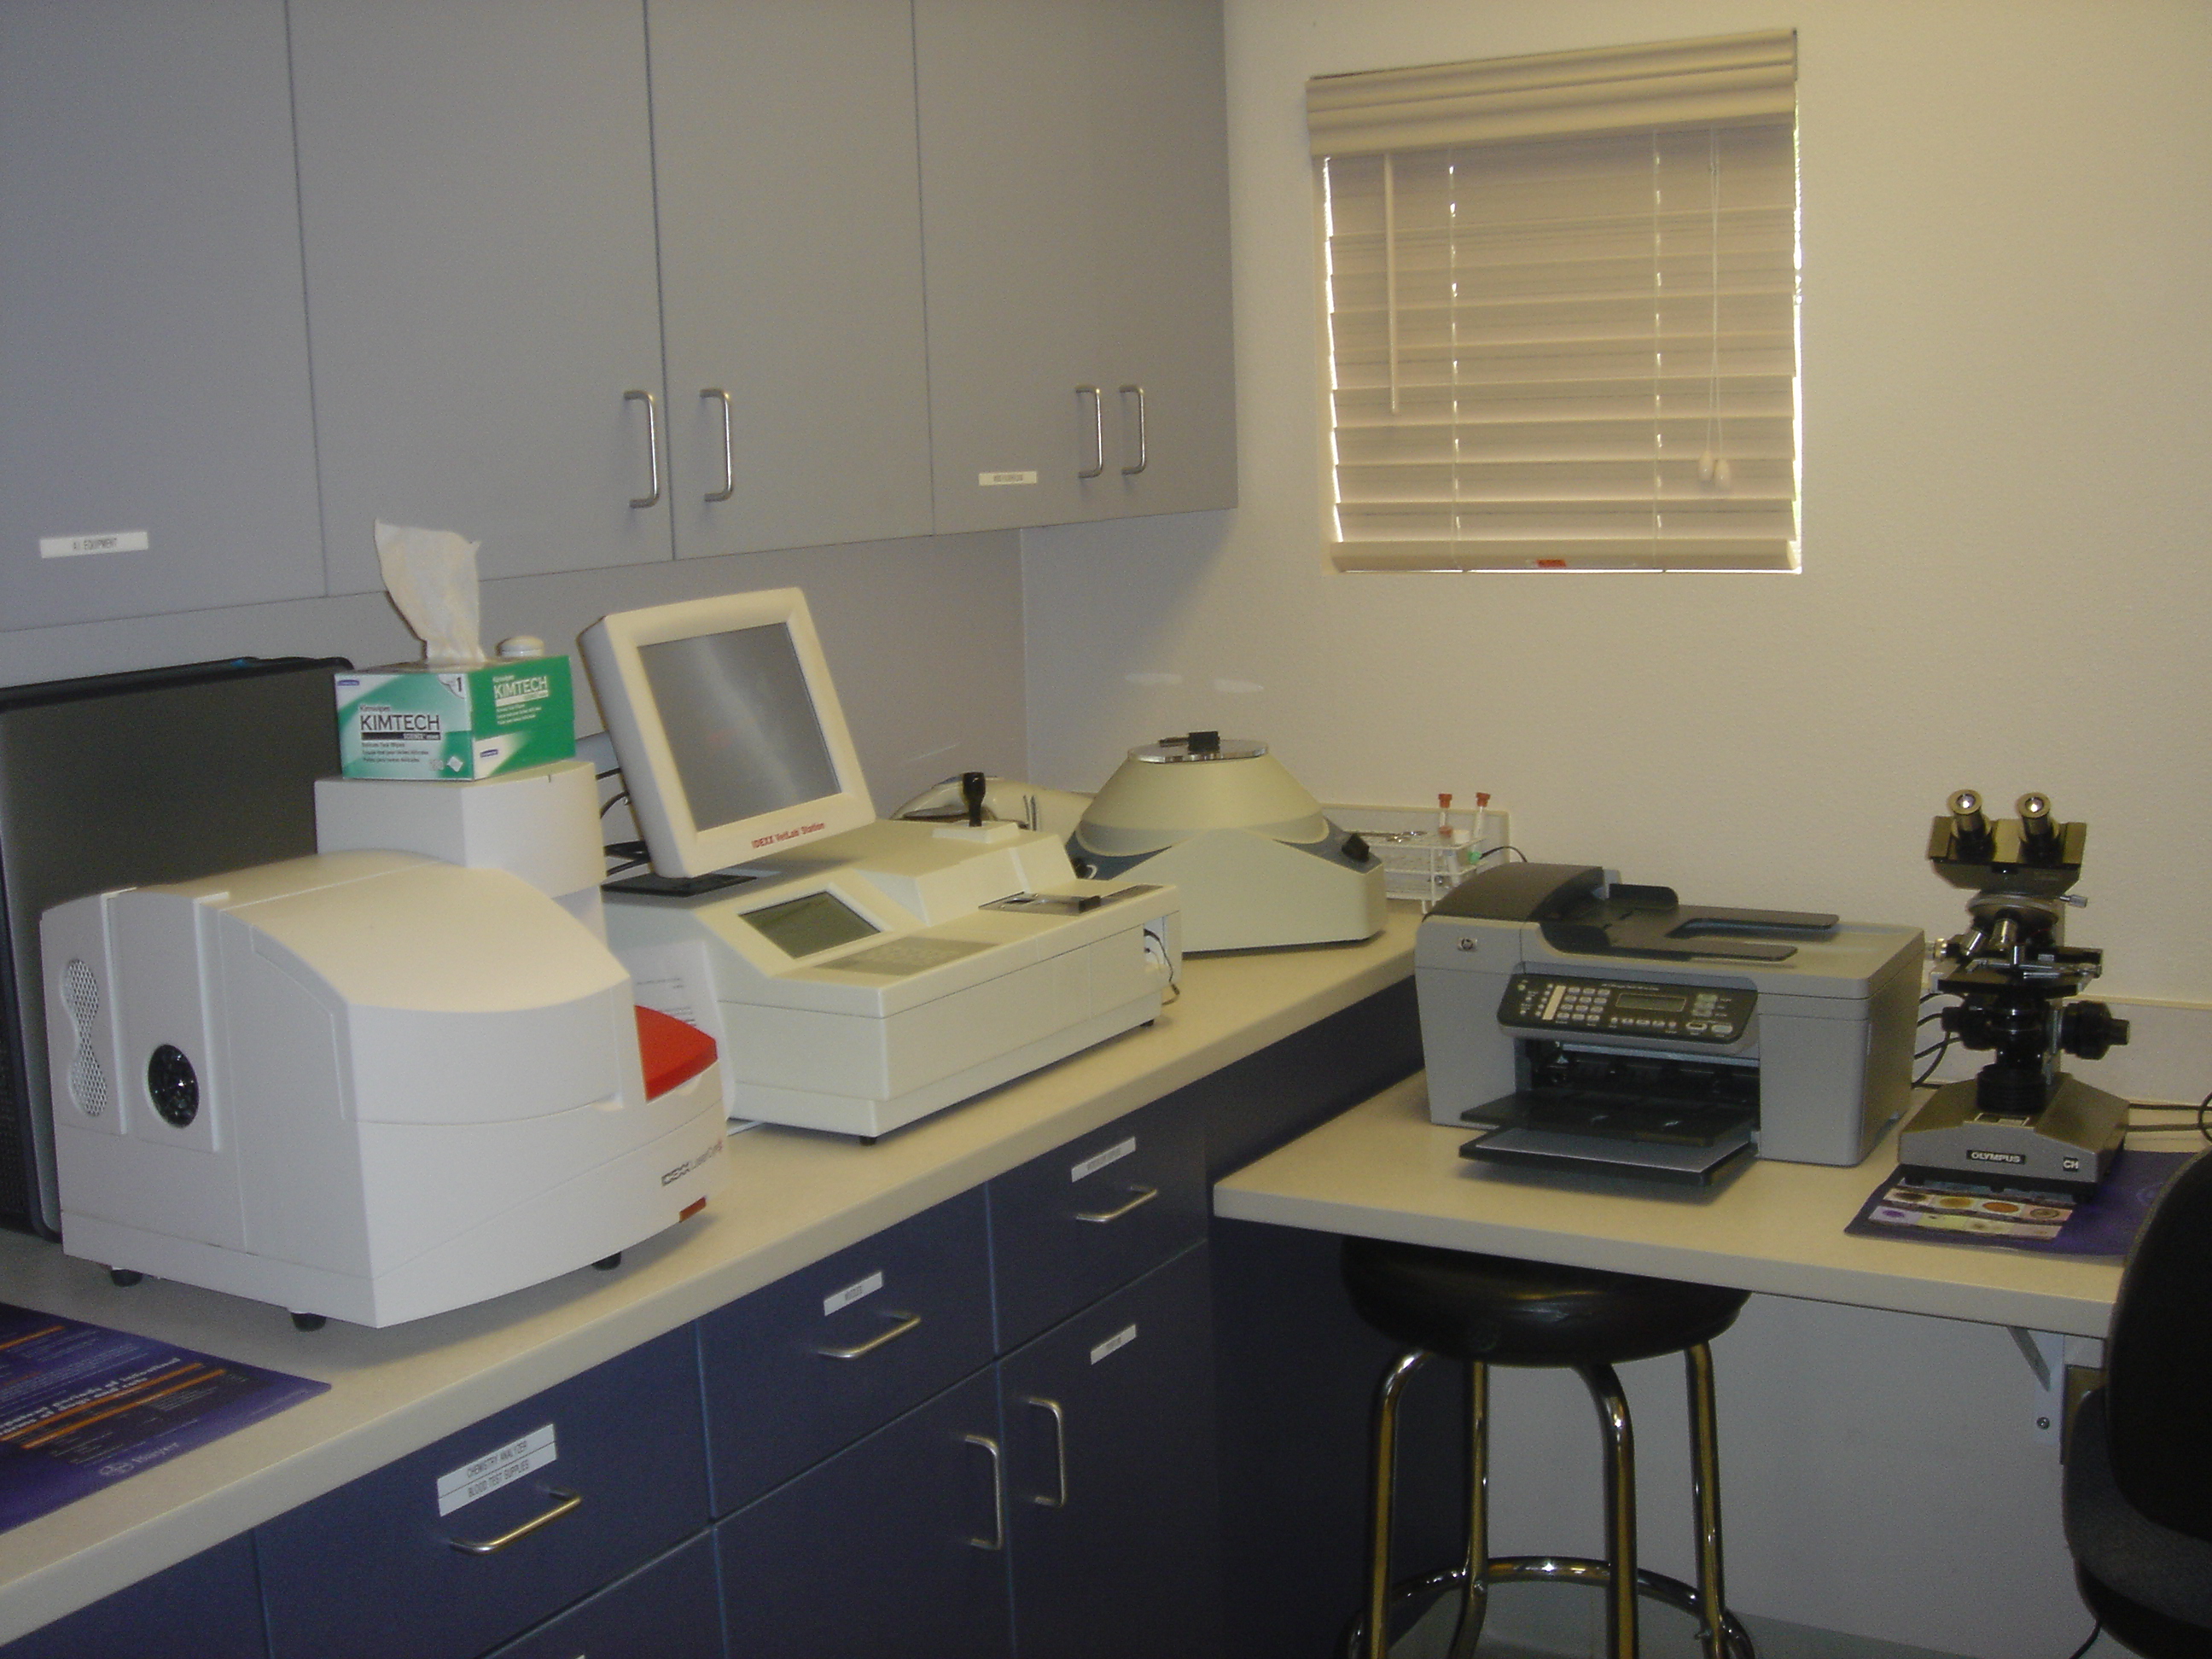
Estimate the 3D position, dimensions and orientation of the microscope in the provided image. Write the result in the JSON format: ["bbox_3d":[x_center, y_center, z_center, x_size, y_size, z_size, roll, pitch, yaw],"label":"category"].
[{"bbox_3d":[1.186,0.192,2.267,0.247,0.477,0.322,5,14,30],"label":"microscope"}]

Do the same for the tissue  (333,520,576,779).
[{"bbox_3d":[-0.691,-0.191,1.852,0.241,0.255,0.188,5,15,31],"label":"tissue "}]

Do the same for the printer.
[{"bbox_3d":[0.757,0.256,2.387,0.512,0.303,0.408,3,10,27],"label":"printer"}]
